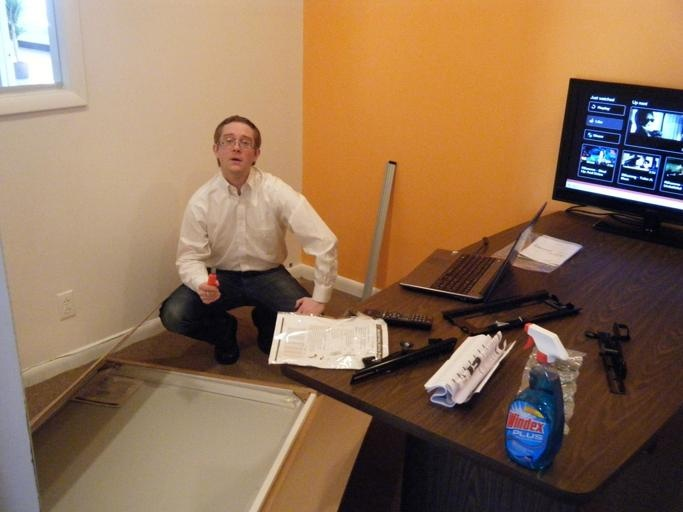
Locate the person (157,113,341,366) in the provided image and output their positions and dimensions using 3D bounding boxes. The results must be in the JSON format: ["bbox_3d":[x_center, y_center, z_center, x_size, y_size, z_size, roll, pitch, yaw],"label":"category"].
[{"bbox_3d":[-0.511,-0.092,2.590,0.975,1.335,0.807,-9,35,-19],"label":"person"}]

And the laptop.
[{"bbox_3d":[0.452,0.064,1.866,0.384,0.244,0.476,11,36,33],"label":"laptop"}]

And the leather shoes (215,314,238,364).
[{"bbox_3d":[-0.588,0.433,2.708,0.097,0.121,0.277,1,29,-6],"label":"leather shoes"}]

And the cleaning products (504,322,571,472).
[{"bbox_3d":[0.444,0.312,1.149,0.115,0.277,0.160,12,23,26],"label":"cleaning products"}]
